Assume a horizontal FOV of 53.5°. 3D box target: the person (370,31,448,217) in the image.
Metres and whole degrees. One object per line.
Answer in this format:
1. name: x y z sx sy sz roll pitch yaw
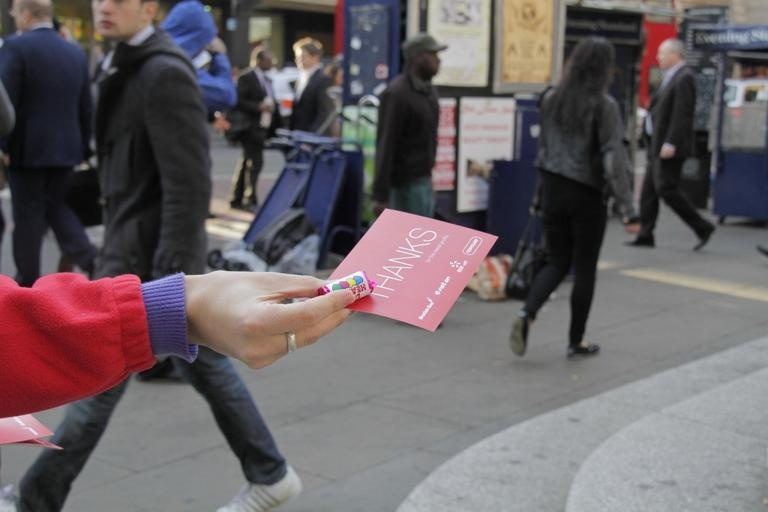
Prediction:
1. person: 0.161 -0.942 5.578 0.457 1.309 0.262 1 15 -1

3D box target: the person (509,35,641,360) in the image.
1. person: 0.855 -0.247 3.598 0.432 1.427 1.659 4 14 10

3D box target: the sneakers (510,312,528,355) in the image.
1. sneakers: 0.673 0.397 3.812 0.073 0.090 0.208 -15 46 27

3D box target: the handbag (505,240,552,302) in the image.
1. handbag: 0.979 0.116 5.179 0.273 0.447 0.325 11 53 -3

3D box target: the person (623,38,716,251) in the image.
1. person: 0.980 -0.358 2.497 0.241 0.685 0.100 8 16 24

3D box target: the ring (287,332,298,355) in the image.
1. ring: -0.218 0.206 1.763 0.040 0.031 0.037 8 51 -10

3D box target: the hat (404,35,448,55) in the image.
1. hat: 0.282 -1.492 5.395 0.253 0.096 0.159 2 18 19
